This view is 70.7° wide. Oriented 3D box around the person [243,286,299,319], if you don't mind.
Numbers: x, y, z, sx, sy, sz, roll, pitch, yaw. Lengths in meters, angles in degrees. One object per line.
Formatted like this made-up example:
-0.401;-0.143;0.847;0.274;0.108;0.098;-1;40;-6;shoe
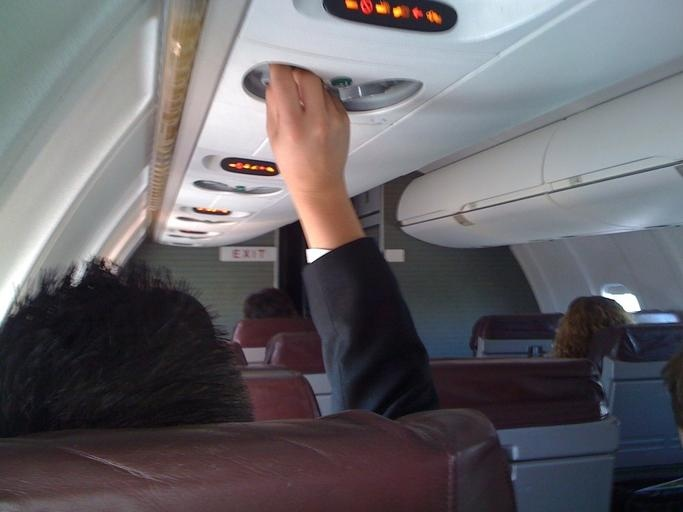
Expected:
-0.827;0.523;5.367;0.632;0.703;0.278;2;90;-16;person
